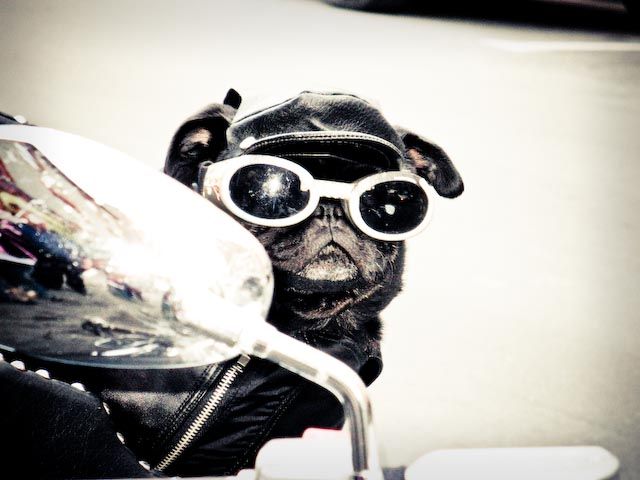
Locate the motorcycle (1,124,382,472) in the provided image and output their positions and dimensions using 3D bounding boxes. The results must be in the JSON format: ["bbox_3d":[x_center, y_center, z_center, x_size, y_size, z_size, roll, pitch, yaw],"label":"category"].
[{"bbox_3d":[-0.226,0.145,1.196,0.668,0.549,0.228,12,38,13],"label":"motorcycle"}]
